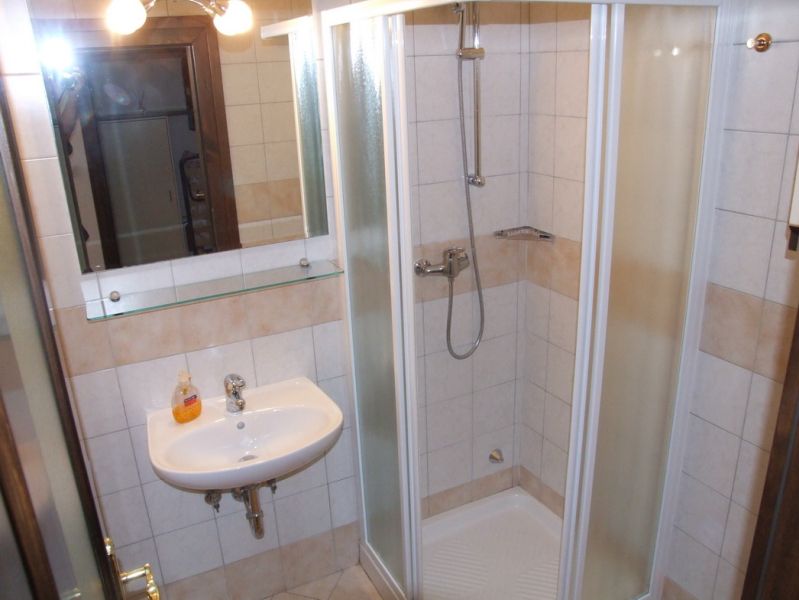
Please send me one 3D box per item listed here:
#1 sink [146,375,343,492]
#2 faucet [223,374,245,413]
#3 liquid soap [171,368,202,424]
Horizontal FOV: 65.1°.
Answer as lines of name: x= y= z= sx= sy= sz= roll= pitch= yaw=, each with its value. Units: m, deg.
sink: x=-0.568 y=0.535 z=2.362 sx=0.681 sy=0.254 sz=0.498 roll=-16 pitch=23 yaw=-24
faucet: x=-0.634 y=0.358 z=2.416 sx=0.075 sy=0.140 sz=0.077 roll=11 pitch=16 yaw=39
liquid soap: x=-0.806 y=0.369 z=2.368 sx=0.058 sy=0.204 sz=0.114 roll=27 pitch=34 yaw=36
